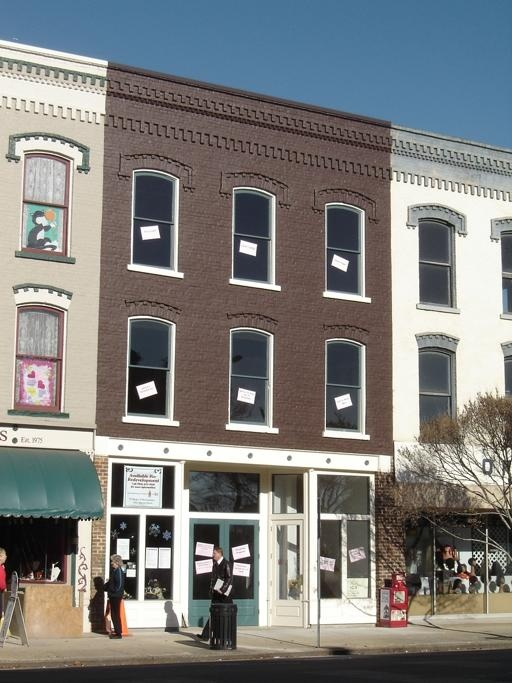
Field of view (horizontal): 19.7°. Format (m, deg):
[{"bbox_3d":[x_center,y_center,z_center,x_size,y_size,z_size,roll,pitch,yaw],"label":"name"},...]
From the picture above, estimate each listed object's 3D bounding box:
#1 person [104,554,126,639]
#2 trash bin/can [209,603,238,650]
[{"bbox_3d":[-2.566,4.659,26.739,0.334,1.473,0.813,1,-10,-4],"label":"person"},{"bbox_3d":[-0.559,4.880,25.166,0.442,0.775,0.432,0,-10,0],"label":"trash bin/can"}]
